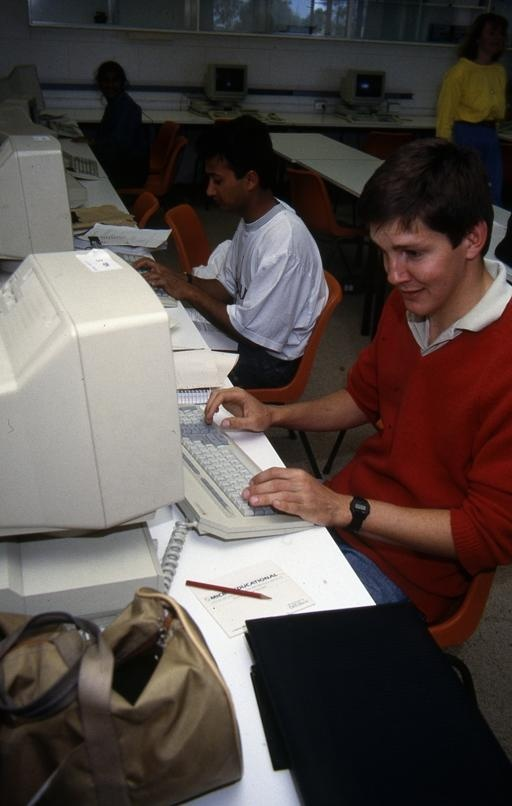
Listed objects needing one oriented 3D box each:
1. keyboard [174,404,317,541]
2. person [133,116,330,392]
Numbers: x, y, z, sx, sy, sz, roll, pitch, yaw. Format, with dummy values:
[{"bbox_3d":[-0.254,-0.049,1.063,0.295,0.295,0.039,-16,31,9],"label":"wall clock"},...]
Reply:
[{"bbox_3d":[-0.098,0.112,1.110,0.144,0.038,0.422,0,27,-29],"label":"keyboard"},{"bbox_3d":[-0.075,-0.396,2.060,0.650,1.070,0.521,-4,27,-2],"label":"person"}]
